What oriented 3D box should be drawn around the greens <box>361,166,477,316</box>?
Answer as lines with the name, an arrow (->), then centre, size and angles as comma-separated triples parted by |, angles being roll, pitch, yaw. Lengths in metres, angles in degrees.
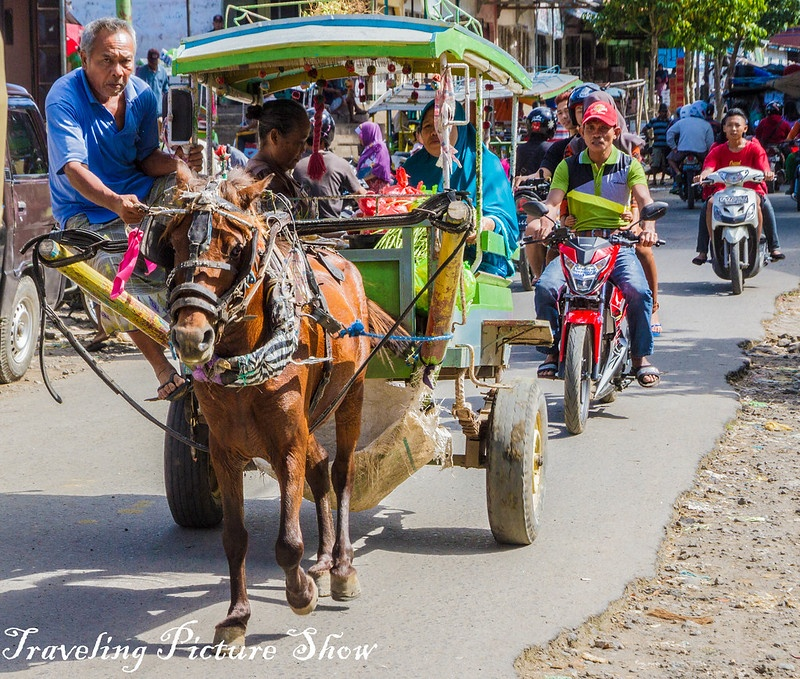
greens -> 0.054, -0.570, 6.714 | 0.566, 0.864, 0.364 | -1, 1, 28

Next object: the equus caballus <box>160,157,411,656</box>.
equus caballus -> -0.542, 0.278, 5.344 | 0.579, 2.110, 1.510 | 3, 12, 20

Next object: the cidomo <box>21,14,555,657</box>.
cidomo -> -0.860, -0.199, 6.350 | 2.254, 3.305, 3.307 | -1, -2, 16
